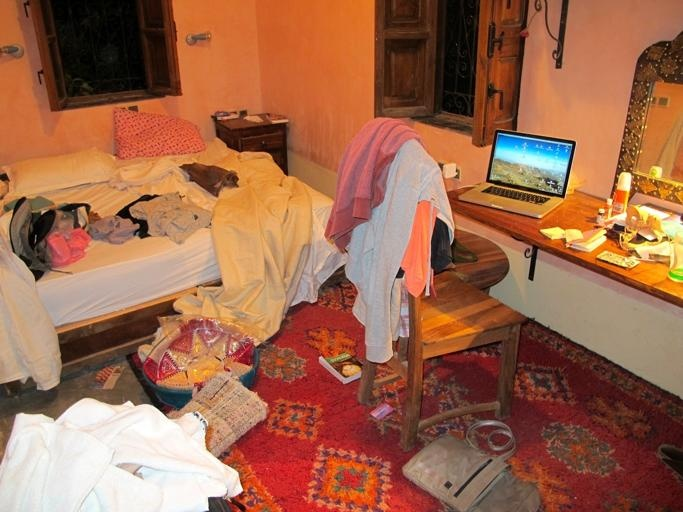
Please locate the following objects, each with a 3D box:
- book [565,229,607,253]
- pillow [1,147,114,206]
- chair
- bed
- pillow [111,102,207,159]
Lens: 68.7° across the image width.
[{"bbox_3d":[1.191,-0.076,2.398,0.158,0.055,0.125,-27,26,-17],"label":"book"},{"bbox_3d":[-2.159,-0.645,3.844,0.621,0.147,0.482,-17,45,-24],"label":"pillow"},{"bbox_3d":[0.500,0.315,2.600,0.721,1.157,0.626,-14,23,-27],"label":"chair"},{"bbox_3d":[-0.923,0.024,3.239,1.486,0.396,1.611,-16,36,-25],"label":"bed"},{"bbox_3d":[-1.660,-1.082,4.507,0.599,0.189,0.614,-15,63,-24],"label":"pillow"}]
